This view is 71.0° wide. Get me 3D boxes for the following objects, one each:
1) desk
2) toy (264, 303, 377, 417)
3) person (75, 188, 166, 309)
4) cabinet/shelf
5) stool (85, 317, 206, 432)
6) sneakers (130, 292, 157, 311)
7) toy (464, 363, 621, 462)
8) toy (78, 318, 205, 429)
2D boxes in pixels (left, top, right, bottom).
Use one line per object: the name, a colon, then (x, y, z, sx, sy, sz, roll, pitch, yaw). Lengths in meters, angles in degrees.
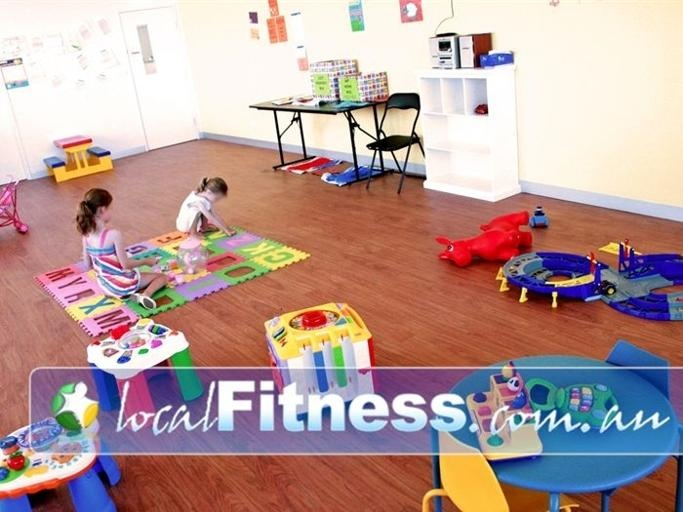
desk: (-0.314, -1.668, 6.932, 1.627, 0.757, 0.869, 19, 33, 38)
toy: (-0.152, 0.482, 2.801, 0.614, 0.403, 0.577, -14, 24, -15)
person: (-1.865, -0.075, 3.918, 0.658, 0.968, 0.575, -9, 21, -10)
cabinet/shelf: (1.426, -1.350, 5.254, 0.525, 1.466, 1.349, -26, 32, -31)
stool: (-1.152, 0.647, 2.845, 0.560, 0.469, 0.415, -16, 23, -28)
sneakers: (-1.637, 0.342, 3.961, 0.300, 0.107, 0.100, 19, 33, 38)
toy: (0.561, 0.496, 1.614, 0.198, 0.167, 0.338, -4, 21, -1)
toy: (-1.207, 0.560, 2.844, 0.595, 0.433, 0.595, 16, 24, 39)
